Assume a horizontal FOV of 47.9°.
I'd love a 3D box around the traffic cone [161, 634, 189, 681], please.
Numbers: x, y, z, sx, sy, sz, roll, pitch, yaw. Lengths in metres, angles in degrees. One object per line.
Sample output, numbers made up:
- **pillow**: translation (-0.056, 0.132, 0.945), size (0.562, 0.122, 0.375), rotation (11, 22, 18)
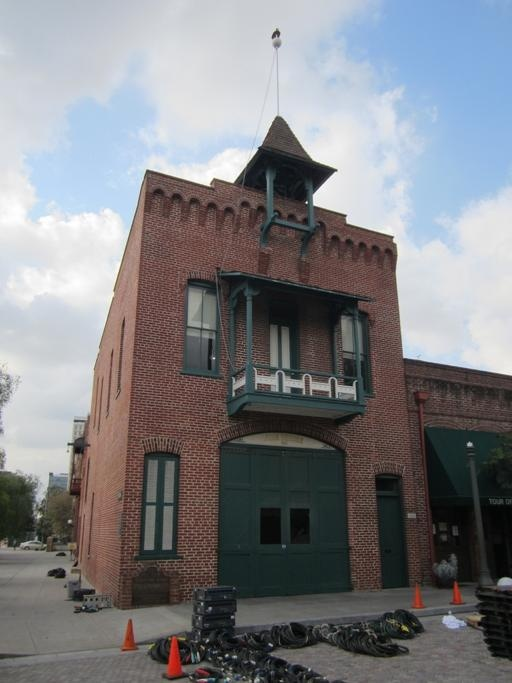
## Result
- **traffic cone**: translation (-1.018, 3.966, 7.330), size (0.286, 0.450, 0.797), rotation (3, -18, -7)
